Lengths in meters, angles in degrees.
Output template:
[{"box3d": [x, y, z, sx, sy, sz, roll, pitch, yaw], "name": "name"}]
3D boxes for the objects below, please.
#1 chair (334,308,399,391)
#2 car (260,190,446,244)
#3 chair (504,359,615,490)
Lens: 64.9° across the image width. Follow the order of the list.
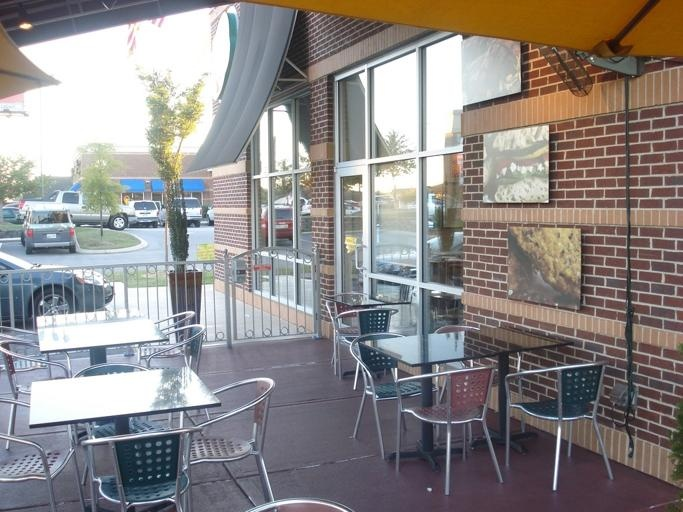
[{"box3d": [0.437, 1.175, 7.583, 1.052, 0.977, 1.059, 2, 1, -10], "name": "chair"}, {"box3d": [-0.099, -0.722, 12.132, 2.767, 0.945, 1.273, -7, 8, -20], "name": "car"}, {"box3d": [2.103, 1.446, 5.181, 0.955, 1.103, 1.204, 3, 7, 26], "name": "chair"}]
